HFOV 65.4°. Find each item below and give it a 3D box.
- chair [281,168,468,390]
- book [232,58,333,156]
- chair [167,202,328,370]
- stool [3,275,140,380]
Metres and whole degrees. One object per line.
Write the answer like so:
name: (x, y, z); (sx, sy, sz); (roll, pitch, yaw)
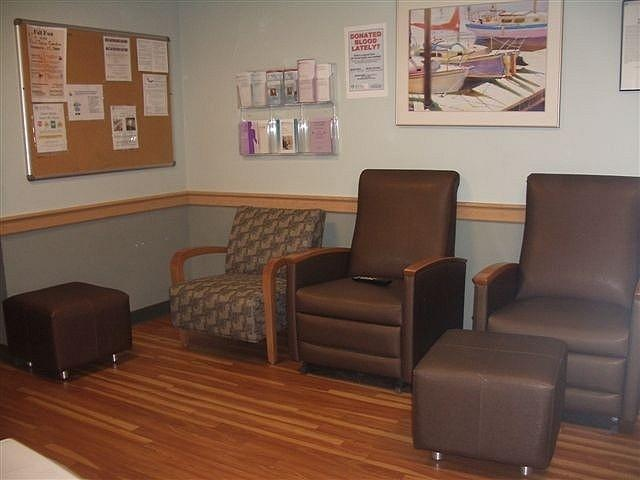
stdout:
chair: (0.439, 0.220, 3.499); (1.090, 1.371, 1.095); (-10, 12, -41)
book: (-0.299, -1.104, 4.215); (0.968, 0.769, 0.133); (5, 15, 26)
chair: (-0.580, 0.272, 3.816); (0.959, 1.005, 0.899); (7, 10, 36)
stool: (-1.772, 0.564, 3.577); (0.680, 0.562, 0.696); (7, 10, 37)
